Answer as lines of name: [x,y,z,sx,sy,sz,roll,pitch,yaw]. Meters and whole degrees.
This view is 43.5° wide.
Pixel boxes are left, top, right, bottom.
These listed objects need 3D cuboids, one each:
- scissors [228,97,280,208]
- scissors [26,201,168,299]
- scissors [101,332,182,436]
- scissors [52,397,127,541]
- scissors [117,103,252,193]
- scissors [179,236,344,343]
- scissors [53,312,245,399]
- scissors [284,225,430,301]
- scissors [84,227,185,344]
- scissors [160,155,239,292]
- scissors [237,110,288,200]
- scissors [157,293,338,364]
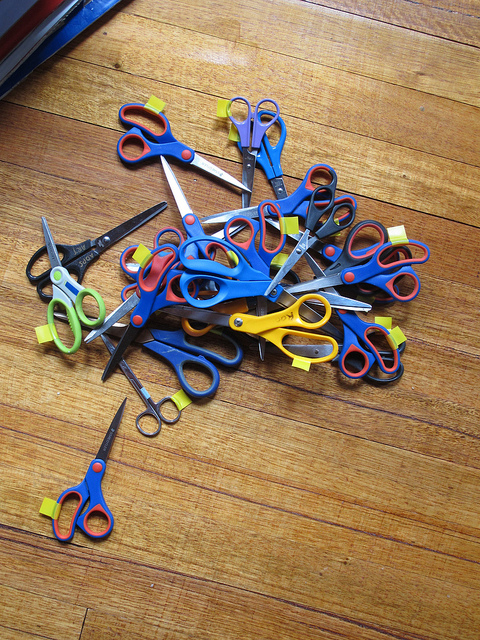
scissors: [0.012,-0.279,1.004,0.085,0.014,0.207,6,-30,-3]
scissors: [-0.201,-0.135,0.972,0.252,0.018,0.087,-25,-32,-29]
scissors: [-0.177,0.103,1.006,0.086,0.210,0.008,-40,-5,7]
scissors: [-0.240,0.241,0.954,0.098,0.235,0.057,5,10,-14]
scissors: [-0.119,-0.277,1.023,0.288,0.097,0.028,27,-3,3]
scissors: [0.052,-0.056,0.937,0.304,0.089,0.031,5,20,-20]
scissors: [-0.159,0.031,0.944,0.331,0.119,0.020,18,-31,-15]
scissors: [0.158,-0.065,0.955,0.276,0.049,0.146,-14,-7,-10]
scissors: [-0.155,-0.046,0.975,0.094,0.247,0.021,48,6,19]
scissors: [-0.072,-0.149,0.982,0.087,0.214,0.022,-28,-22,3]
scissors: [0.047,-0.258,0.974,0.074,0.150,0.012,-15,-1,-2]
scissors: [0.002,-0.001,0.917,0.291,0.102,0.025,7,-20,9]
